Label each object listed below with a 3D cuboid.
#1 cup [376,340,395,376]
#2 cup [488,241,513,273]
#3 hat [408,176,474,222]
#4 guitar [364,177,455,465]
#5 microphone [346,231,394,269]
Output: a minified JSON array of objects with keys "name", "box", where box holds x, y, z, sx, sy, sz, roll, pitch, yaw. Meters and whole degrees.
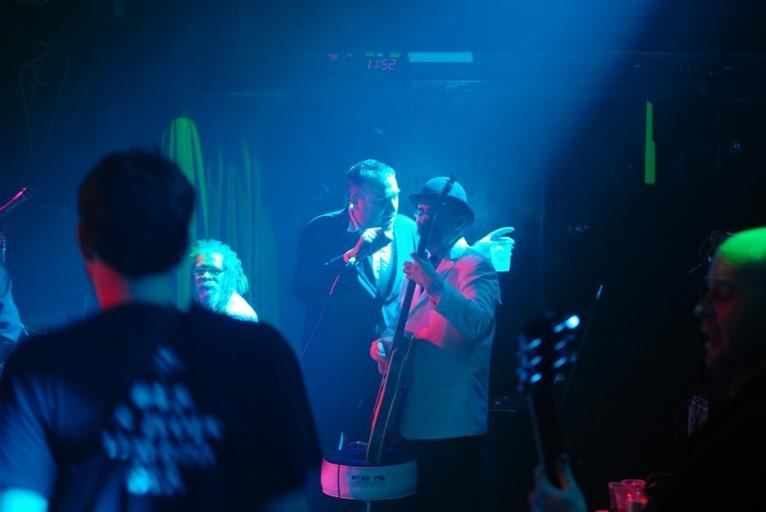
[{"name":"cup","box":[0.029,0.618,4.898,0.062,0.185,0.137,11,-15,-34]},{"name":"cup","box":[0.807,-0.011,5.352,0.198,0.256,0.195,0,5,0]},{"name":"hat","box":[0.405,-0.402,5.147,0.353,0.139,0.303,28,-13,-25]},{"name":"guitar","box":[0.177,0.351,4.807,0.390,1.676,0.753,2,7,32]},{"name":"microphone","box":[-0.099,-0.081,5.405,0.284,0.087,0.208,-34,35,5]}]
